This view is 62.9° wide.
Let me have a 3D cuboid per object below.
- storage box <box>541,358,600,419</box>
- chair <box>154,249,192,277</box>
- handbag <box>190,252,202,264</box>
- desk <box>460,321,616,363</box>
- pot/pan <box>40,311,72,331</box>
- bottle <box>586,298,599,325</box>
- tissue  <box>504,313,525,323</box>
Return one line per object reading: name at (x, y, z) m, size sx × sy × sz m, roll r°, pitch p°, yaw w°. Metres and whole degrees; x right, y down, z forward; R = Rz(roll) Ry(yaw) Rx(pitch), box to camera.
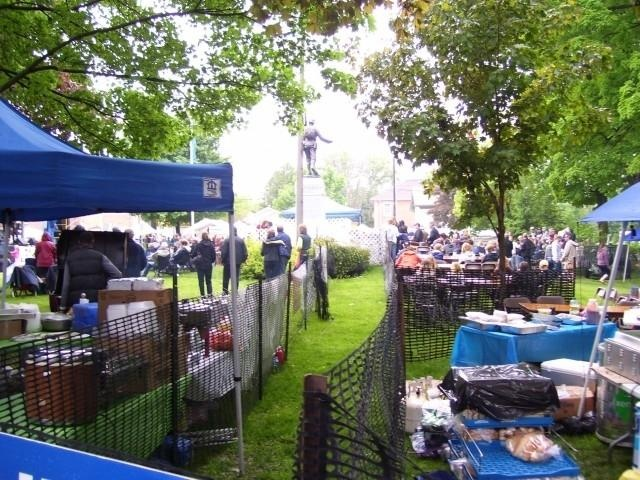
storage box at (3.206, 1.899, 6.733) m, size 0.638 × 0.550 × 0.930 m, roll 0°, pitch 0°, yaw 18°
chair at (-5.683, 0.891, 20.128) m, size 1.169 × 0.988 × 1.177 m, roll 3°, pitch -1°, yaw 5°
handbag at (-3.565, 0.562, 15.010) m, size 0.204 × 0.285 × 0.557 m, roll 0°, pitch 0°, yaw -30°
desk at (2.955, 1.462, 7.295) m, size 1.442 × 0.376 × 0.875 m, roll 1°, pitch -2°, yaw -11°
pot/pan at (-3.352, 1.053, 6.669) m, size 0.321 × 0.210 × 0.393 m, roll 0°, pitch 0°, yaw -33°
bottle at (3.983, 1.050, 7.654) m, size 0.187 × 0.320 × 0.313 m, roll 0°, pitch 0°, yaw 28°
tissue  at (2.716, 1.090, 7.307) m, size 0.209 × 0.092 × 0.336 m, roll 0°, pitch 0°, yaw 30°
